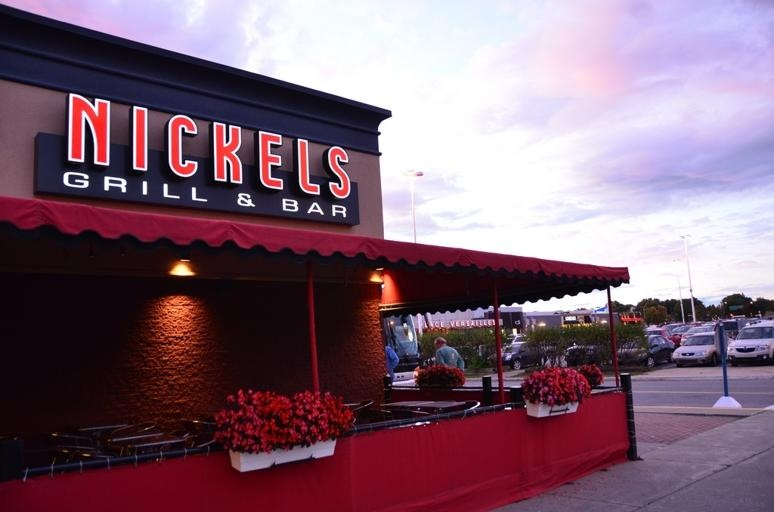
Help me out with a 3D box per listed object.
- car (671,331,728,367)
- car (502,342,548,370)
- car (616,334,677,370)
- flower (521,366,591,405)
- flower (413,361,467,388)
[{"bbox_3d":[15.948,4.910,28.737,1.934,1.672,2.358,-8,-7,37],"label":"car"},{"bbox_3d":[8.233,6.036,33.610,1.678,1.740,3.288,-2,-6,-26],"label":"car"},{"bbox_3d":[14.136,5.270,30.464,1.887,1.363,4.056,-10,-15,39],"label":"car"},{"bbox_3d":[3.189,2.350,10.267,1.089,0.826,1.428,-2,-11,34],"label":"flower"},{"bbox_3d":[1.272,2.891,13.296,0.755,0.427,0.688,3,-8,-7],"label":"flower"}]
